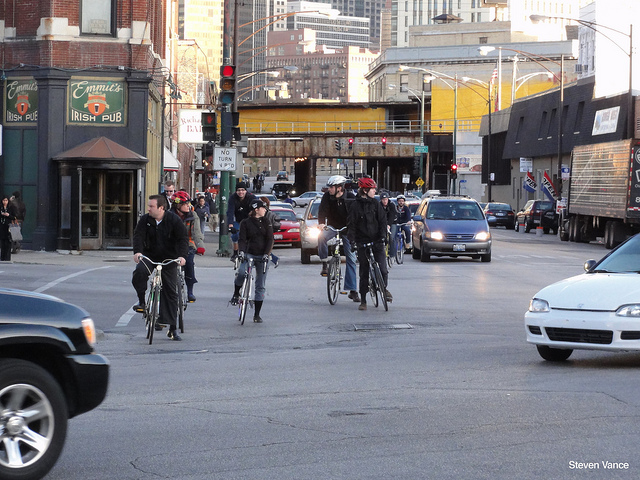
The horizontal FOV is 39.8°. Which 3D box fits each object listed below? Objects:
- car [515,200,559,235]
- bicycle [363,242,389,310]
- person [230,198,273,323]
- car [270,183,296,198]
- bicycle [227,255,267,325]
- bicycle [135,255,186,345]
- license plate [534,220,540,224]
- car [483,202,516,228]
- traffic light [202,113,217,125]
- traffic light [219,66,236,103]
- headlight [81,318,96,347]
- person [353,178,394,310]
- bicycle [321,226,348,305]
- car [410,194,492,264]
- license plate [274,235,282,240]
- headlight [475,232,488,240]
[{"bbox_3d":[13.342,-1.537,54.027,1.291,1.302,2.917,0,3,-6],"label":"car"},{"bbox_3d":[1.144,0.648,16.885,0.441,1.228,0.547,3,5,20],"label":"bicycle"},{"bbox_3d":[-1.159,0.350,15.486,0.653,2.089,0.732,1,5,-6],"label":"person"},{"bbox_3d":[-4.129,-5.565,99.608,2.171,1.467,3.149,2,5,10],"label":"car"},{"bbox_3d":[-1.288,0.817,15.809,0.619,1.191,1.667,1,5,-7],"label":"bicycle"},{"bbox_3d":[-2.488,0.850,13.404,0.575,1.325,0.677,-1,5,-22],"label":"bicycle"},{"bbox_3d":[13.122,-1.112,53.381,0.169,0.267,0.592,0,5,-14],"label":"license plate"},{"bbox_3d":[12.031,-1.631,58.951,1.820,1.841,4.590,0,5,1],"label":"car"},{"bbox_3d":[-3.494,-3.795,27.829,0.346,0.374,0.364,0,0,-5],"label":"traffic light"},{"bbox_3d":[-2.778,-4.649,26.584,0.429,1.071,0.668,1,5,-2],"label":"traffic light"},{"bbox_3d":[-1.841,0.721,7.041,0.080,0.231,0.239,1,5,-3],"label":"headlight"},{"bbox_3d":[0.951,0.069,16.843,0.712,2.405,1.026,-1,13,17],"label":"person"},{"bbox_3d":[0.318,0.498,17.783,0.492,1.526,1.086,1,5,2],"label":"bicycle"},{"bbox_3d":[4.201,-0.414,29.803,1.641,1.492,2.957,0,-5,-3],"label":"car"},{"bbox_3d":[-1.715,-0.138,35.924,0.166,0.203,0.531,4,6,25],"label":"license plate"},{"bbox_3d":[5.230,-0.144,28.475,0.518,0.215,0.108,-3,6,-38],"label":"headlight"}]
